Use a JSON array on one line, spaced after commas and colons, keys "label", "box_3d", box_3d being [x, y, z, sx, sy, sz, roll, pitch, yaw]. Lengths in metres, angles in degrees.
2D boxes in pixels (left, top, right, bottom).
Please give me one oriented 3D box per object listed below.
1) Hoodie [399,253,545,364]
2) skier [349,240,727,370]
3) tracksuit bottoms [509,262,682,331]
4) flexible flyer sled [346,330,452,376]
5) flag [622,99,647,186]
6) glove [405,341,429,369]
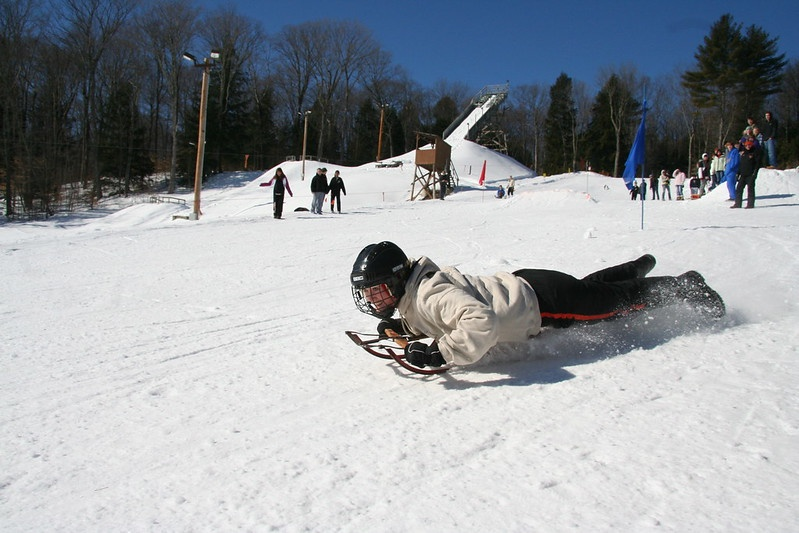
[{"label": "Hoodie", "box_3d": [0.722, 0.366, 5.773, 1.089, 0.627, 1.504, -12, 2, 1]}, {"label": "skier", "box_3d": [1.381, 0.355, 6.136, 3.136, 0.925, 1.726, -10, -22, -12]}, {"label": "tracksuit bottoms", "box_3d": [2.095, 0.258, 6.264, 1.349, 0.384, 0.807, -16, 8, -23]}, {"label": "flexible flyer sled", "box_3d": [-0.046, 0.908, 6.048, 0.940, 0.219, 0.484, 15, 6, 15]}, {"label": "flag", "box_3d": [5.372, -2.629, 13.283, 0.455, 1.910, 3.860, 0, 14, 23]}, {"label": "glove", "box_3d": [0.160, 0.850, 5.692, 0.254, 0.106, 0.197, -4, 4, -33]}]
